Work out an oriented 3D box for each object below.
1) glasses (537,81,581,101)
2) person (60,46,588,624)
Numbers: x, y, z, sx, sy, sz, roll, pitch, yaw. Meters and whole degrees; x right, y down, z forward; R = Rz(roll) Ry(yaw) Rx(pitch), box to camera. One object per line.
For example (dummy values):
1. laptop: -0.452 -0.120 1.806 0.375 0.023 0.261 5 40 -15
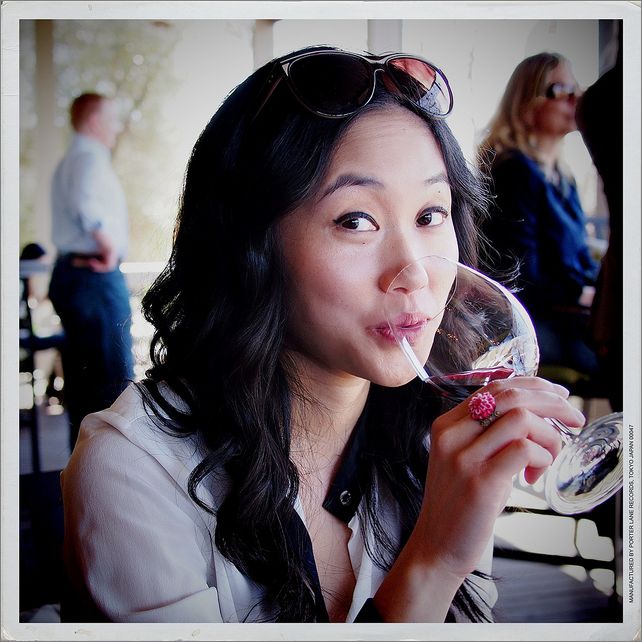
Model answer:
1. glasses: 0.461 -0.444 1.434 0.047 0.040 0.012 4 -13 -4
2. person: 0.098 0.023 1.936 1.025 1.524 0.994 0 -2 -43
